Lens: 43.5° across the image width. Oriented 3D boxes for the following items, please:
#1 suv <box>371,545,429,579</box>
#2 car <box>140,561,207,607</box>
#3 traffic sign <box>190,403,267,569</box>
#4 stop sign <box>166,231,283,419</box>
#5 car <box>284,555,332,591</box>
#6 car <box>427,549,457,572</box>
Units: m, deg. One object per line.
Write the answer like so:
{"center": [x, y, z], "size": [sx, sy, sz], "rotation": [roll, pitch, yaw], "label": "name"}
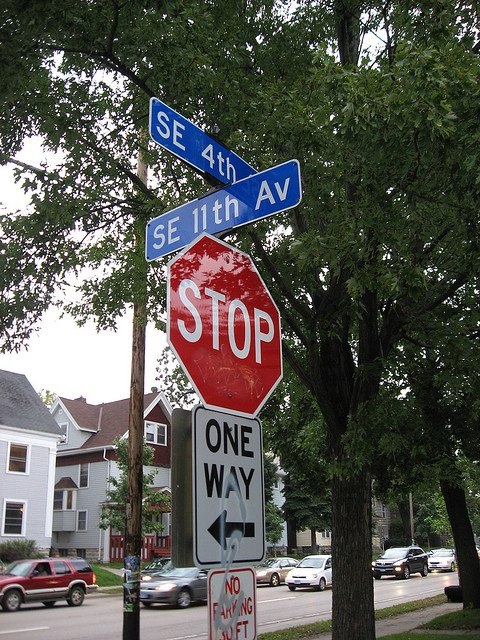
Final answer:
{"center": [8.473, 12.863, 31.950], "size": [1.416, 1.542, 3.817], "rotation": [-14, -20, 39], "label": "suv"}
{"center": [-2.074, 8.321, 18.796], "size": [2.035, 1.262, 1.692], "rotation": [0, -15, -8], "label": "car"}
{"center": [-0.034, 0.618, 2.256], "size": [0.122, 0.562, 0.543], "rotation": [-7, -16, 22], "label": "traffic sign"}
{"center": [-0.061, 0.000, 2.612], "size": [0.178, 0.829, 0.785], "rotation": [-9, -17, 30], "label": "stop sign"}
{"center": [2.838, 10.397, 24.724], "size": [1.104, 1.270, 1.996], "rotation": [-12, -19, 34], "label": "car"}
{"center": [12.939, 15.603, 38.476], "size": [1.627, 1.408, 4.089], "rotation": [-7, -20, 19], "label": "car"}
